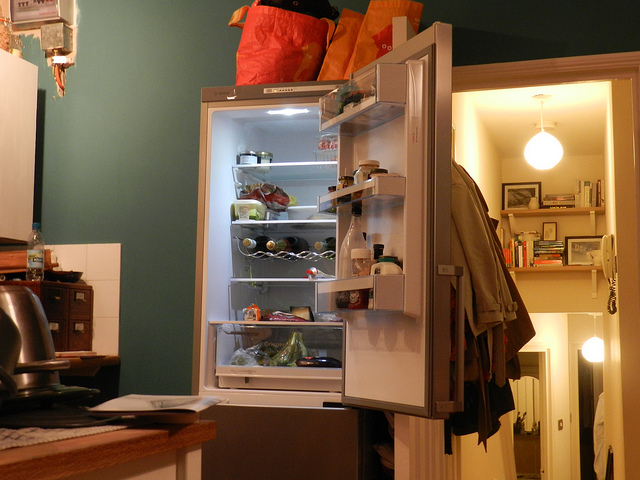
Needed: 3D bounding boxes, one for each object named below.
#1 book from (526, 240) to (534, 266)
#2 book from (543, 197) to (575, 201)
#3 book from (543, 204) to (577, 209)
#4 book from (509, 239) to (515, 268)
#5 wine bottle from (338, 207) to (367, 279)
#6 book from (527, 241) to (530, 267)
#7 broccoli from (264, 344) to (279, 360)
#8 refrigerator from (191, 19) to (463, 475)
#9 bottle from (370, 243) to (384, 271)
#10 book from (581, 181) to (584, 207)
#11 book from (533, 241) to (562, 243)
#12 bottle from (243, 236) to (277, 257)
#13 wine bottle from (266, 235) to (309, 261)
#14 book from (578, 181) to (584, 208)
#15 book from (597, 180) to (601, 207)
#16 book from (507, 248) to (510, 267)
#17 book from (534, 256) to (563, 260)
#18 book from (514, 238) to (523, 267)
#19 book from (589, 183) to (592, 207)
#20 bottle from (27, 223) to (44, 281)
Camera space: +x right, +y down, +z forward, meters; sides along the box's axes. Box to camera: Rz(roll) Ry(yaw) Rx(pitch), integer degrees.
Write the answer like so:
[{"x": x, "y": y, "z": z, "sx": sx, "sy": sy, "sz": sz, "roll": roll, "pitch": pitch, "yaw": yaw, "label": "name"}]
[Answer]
[{"x": 2.131, "y": 0.138, "z": 6.038, "sx": 0.043, "sy": 0.191, "sz": 0.136, "roll": 2, "pitch": -3, "yaw": 8, "label": "book"}, {"x": 2.509, "y": -0.432, "z": 6.239, "sx": 0.301, "sy": 0.044, "sz": 0.065, "roll": -1, "pitch": -3, "yaw": 25, "label": "book"}, {"x": 2.489, "y": -0.351, "z": 6.158, "sx": 0.327, "sy": 0.060, "sz": 0.125, "roll": -1, "pitch": -3, "yaw": 21, "label": "book"}, {"x": 1.974, "y": 0.136, "z": 6.105, "sx": 0.048, "sy": 0.274, "sz": 0.178, "roll": -1, "pitch": -3, "yaw": 17, "label": "book"}, {"x": 0.146, "y": 0.013, "z": 2.505, "sx": 0.119, "sy": 0.325, "sz": 0.117, "roll": 6, "pitch": 6, "yaw": -1, "label": "wine bottle"}, {"x": 2.117, "y": 0.139, "z": 6.031, "sx": 0.019, "sy": 0.249, "sz": 0.038, "roll": -1, "pitch": -3, "yaw": 20, "label": "book"}, {"x": -0.237, "y": 0.569, "z": 3.036, "sx": 0.083, "sy": 0.082, "sz": 0.060, "roll": -4, "pitch": -14, "yaw": 22, "label": "broccoli"}, {"x": 0.011, "y": 0.139, "z": 2.706, "sx": 0.770, "sy": 1.887, "sz": 1.553, "roll": 2, "pitch": -3, "yaw": -38, "label": "refrigerator"}, {"x": 0.225, "y": 0.052, "z": 2.317, "sx": 0.050, "sy": 0.083, "sz": 0.183, "roll": 0, "pitch": -3, "yaw": 6, "label": "bottle"}, {"x": 2.713, "y": -0.476, "z": 6.138, "sx": 0.027, "sy": 0.268, "sz": 0.073, "roll": -1, "pitch": -3, "yaw": 25, "label": "book"}, {"x": 2.322, "y": 0.016, "z": 6.081, "sx": 0.293, "sy": 0.017, "sz": 0.094, "roll": 0, "pitch": -3, "yaw": -2, "label": "book"}, {"x": -0.330, "y": 0.036, "z": 3.261, "sx": 0.069, "sy": 0.072, "sz": 0.182, "roll": 13, "pitch": 6, "yaw": 12, "label": "bottle"}, {"x": -0.172, "y": 0.043, "z": 3.276, "sx": 0.078, "sy": 0.080, "sz": 0.204, "roll": -18, "pitch": -11, "yaw": 18, "label": "wine bottle"}, {"x": 2.705, "y": -0.475, "z": 6.154, "sx": 0.057, "sy": 0.280, "sz": 0.106, "roll": -1, "pitch": -3, "yaw": 25, "label": "book"}, {"x": 2.864, "y": -0.473, "z": 6.095, "sx": 0.033, "sy": 0.271, "sz": 0.118, "roll": -1, "pitch": -3, "yaw": 25, "label": "book"}, {"x": 1.934, "y": 0.173, "z": 6.089, "sx": 0.020, "sy": 0.174, "sz": 0.070, "roll": -1, "pitch": -3, "yaw": 18, "label": "book"}, {"x": 2.310, "y": 0.178, "z": 6.015, "sx": 0.262, "sy": 0.032, "sz": 0.050, "roll": 0, "pitch": -3, "yaw": 5, "label": "book"}, {"x": 2.026, "y": 0.140, "z": 6.068, "sx": 0.083, "sy": 0.254, "sz": 0.263, "roll": 0, "pitch": -1, "yaw": 11, "label": "book"}, {"x": 2.789, "y": -0.474, "z": 6.120, "sx": 0.023, "sy": 0.241, "sz": 0.086, "roll": -1, "pitch": -3, "yaw": 28, "label": "book"}, {"x": -1.603, "y": 0.064, "z": 3.360, "sx": 0.084, "sy": 0.321, "sz": 0.365, "roll": 1, "pitch": -3, "yaw": -26, "label": "bottle"}]
